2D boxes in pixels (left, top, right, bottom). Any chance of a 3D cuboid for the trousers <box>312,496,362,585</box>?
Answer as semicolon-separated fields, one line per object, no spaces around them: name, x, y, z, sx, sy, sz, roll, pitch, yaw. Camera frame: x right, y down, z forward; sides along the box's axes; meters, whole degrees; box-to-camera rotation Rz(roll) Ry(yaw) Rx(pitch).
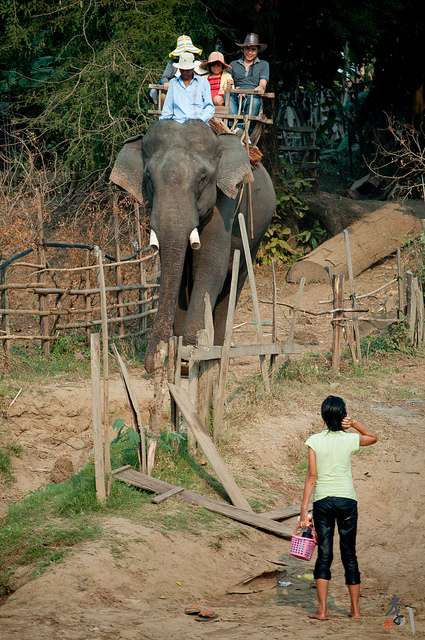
trousers;0.748;1.318;5.462;0.271;0.516;0.281;-1;2;7

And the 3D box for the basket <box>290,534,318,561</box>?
basket;0.536;1.367;5.404;0.142;0.102;0.138;21;-6;-42

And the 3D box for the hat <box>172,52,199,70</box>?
hat;-0.256;-2.465;8.733;0.221;0.201;0.297;-1;1;-1

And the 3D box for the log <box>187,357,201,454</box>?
log;-0.156;0.699;7.415;0.110;0.784;0.255;-1;2;-2

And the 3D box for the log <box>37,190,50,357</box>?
log;-1.945;-0.490;10.338;0.113;1.849;0.708;-2;2;-10

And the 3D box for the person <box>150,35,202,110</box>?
person;-0.257;-2.425;9.047;0.417;0.695;0.252;-1;-5;13

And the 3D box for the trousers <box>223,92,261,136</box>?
trousers;0.325;-2.293;9.848;0.292;0.622;0.343;-1;2;11

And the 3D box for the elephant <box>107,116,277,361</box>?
elephant;-0.190;-0.809;9.591;1.262;2.204;2.831;6;5;11

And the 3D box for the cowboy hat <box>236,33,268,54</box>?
cowboy hat;0.521;-3.363;10.959;0.368;0.167;0.427;3;-6;6

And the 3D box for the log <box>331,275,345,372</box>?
log;1.461;0.046;10.646;0.144;1.132;0.623;-1;2;8

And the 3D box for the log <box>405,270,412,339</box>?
log;2.495;-0.166;11.525;0.093;0.852;0.608;-1;2;12

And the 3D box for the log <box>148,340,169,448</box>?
log;-0.427;0.596;7.177;0.173;0.834;0.687;-1;2;-3

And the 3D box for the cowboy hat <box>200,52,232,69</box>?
cowboy hat;0.022;-2.781;9.735;0.220;0.103;0.285;3;-2;1

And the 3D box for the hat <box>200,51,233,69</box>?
hat;0.023;-2.797;9.787;0.218;0.120;0.292;0;-2;3

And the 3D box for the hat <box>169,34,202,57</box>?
hat;-0.284;-2.706;9.007;0.271;0.173;0.352;-2;-2;-2
